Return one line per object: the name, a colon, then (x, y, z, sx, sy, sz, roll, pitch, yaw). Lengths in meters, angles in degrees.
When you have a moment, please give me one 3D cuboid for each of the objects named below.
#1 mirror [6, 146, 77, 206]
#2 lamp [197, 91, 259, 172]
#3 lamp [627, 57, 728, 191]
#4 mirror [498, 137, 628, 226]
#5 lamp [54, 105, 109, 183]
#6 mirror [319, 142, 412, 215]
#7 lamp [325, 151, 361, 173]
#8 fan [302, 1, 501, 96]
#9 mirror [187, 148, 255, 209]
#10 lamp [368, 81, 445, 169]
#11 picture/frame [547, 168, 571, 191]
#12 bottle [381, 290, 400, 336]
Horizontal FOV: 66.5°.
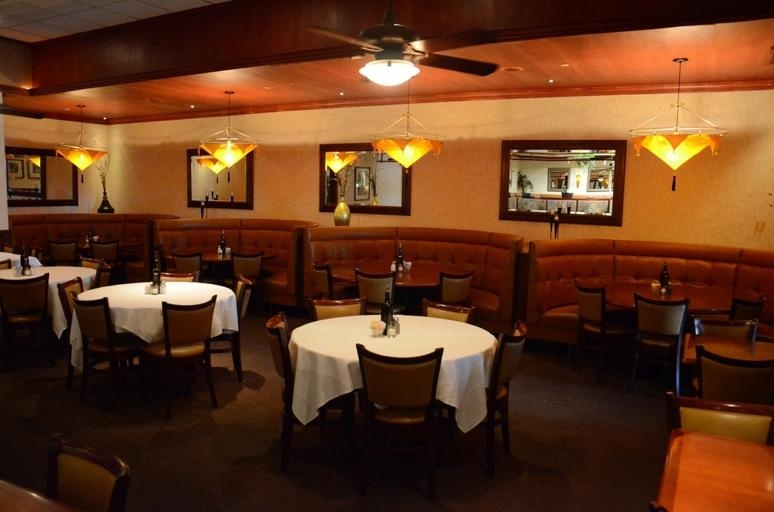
mirror: (-7.155, -1.725, 12.126, 0.060, 1.053, 1.529, 2, 2, 28)
lamp: (-2.747, -2.303, 10.289, 1.005, 1.363, 1.005, -2, -2, 41)
lamp: (3.882, -1.857, 7.953, 1.282, 1.678, 1.257, -1, 7, -15)
mirror: (2.746, -1.199, 8.985, 1.375, 0.985, 0.059, 4, 8, 22)
lamp: (-5.927, -2.353, 11.468, 0.805, 1.228, 0.818, 3, 5, -3)
mirror: (-0.320, -1.403, 10.183, 1.340, 0.952, 0.064, 4, 10, 25)
lamp: (-0.817, -1.777, 10.546, 0.432, 0.229, 0.424, 4, -7, -40)
fan: (0.246, -2.167, 5.522, 1.410, 1.029, 1.546, 2, 6, 16)
mirror: (-3.383, -1.628, 11.866, 1.663, 1.200, 0.087, 5, 6, 28)
lamp: (0.311, -2.158, 8.766, 1.030, 1.581, 1.009, 1, 3, -16)
picture/frame: (2.640, -1.224, 9.063, 0.370, 0.423, 0.030, 0, 1, 22)
bottle: (0.028, 0.513, 5.597, 0.165, 0.427, 0.258, 0, 7, -1)
